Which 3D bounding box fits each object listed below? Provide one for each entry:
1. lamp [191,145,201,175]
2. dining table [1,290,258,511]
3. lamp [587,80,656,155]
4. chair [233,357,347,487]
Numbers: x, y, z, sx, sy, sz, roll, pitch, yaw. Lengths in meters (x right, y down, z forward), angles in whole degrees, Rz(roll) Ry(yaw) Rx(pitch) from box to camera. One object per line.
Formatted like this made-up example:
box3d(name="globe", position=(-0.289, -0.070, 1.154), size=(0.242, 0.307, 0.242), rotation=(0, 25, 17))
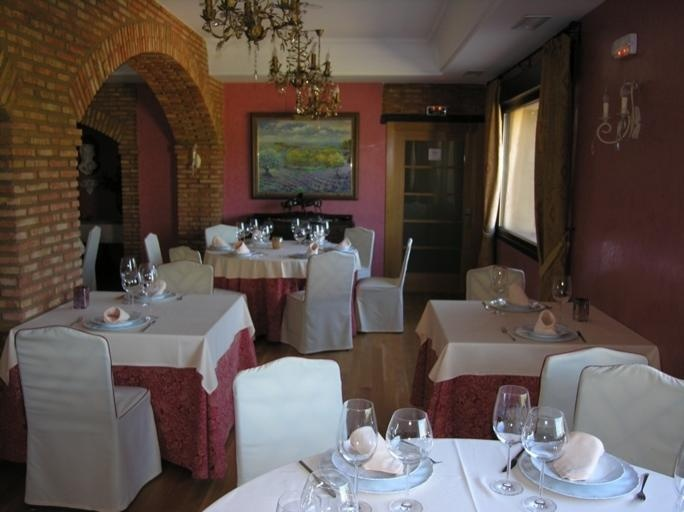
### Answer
box3d(name="lamp", position=(-2.142, -1.427, 7.797), size=(0.169, 0.426, 0.114), rotation=(-4, 8, -19))
box3d(name="dining table", position=(-1.292, 0.847, 3.543), size=(1.077, 0.728, 1.199), rotation=(1, 6, 6))
box3d(name="lamp", position=(1.996, -1.006, 3.824), size=(0.290, 0.643, 0.331), rotation=(-7, 16, -16))
box3d(name="chair", position=(-0.257, 0.681, 2.604), size=(0.449, 0.958, 0.515), rotation=(-1, 7, -12))
